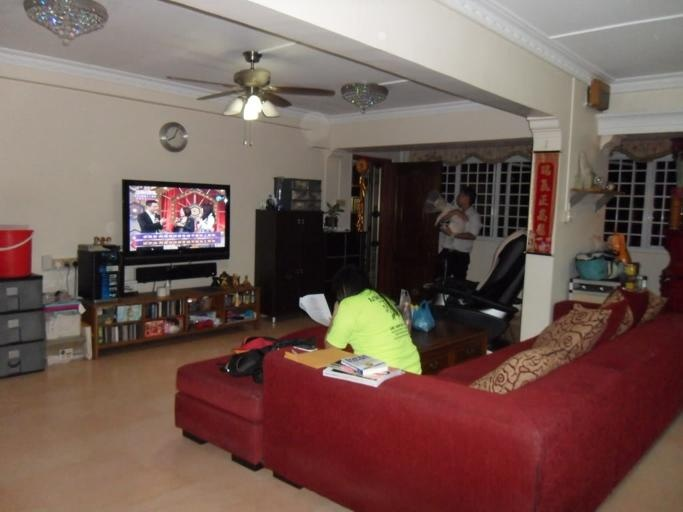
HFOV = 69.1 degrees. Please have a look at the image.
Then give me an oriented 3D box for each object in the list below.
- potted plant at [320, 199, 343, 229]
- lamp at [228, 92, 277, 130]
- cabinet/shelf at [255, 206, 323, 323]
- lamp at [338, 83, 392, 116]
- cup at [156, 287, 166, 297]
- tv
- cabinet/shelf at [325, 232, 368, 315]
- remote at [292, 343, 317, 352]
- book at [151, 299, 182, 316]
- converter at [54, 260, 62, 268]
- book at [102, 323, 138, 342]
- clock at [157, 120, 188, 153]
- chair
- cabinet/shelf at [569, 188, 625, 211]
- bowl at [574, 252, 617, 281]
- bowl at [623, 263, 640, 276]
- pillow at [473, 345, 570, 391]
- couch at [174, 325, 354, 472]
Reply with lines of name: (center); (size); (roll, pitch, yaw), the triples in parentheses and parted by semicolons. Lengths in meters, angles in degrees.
potted plant: (-0.064, -0.613, 7.657); (0.343, 0.475, 0.366); (-5, 10, -43)
lamp: (-0.821, -1.352, 4.553); (0.434, 0.226, 0.580); (4, 9, 13)
cabinet/shelf: (-0.524, 0.081, 6.938); (0.703, 1.229, 0.409); (7, 23, 5)
lamp: (0.242, -1.714, 5.281); (0.462, 0.313, 0.358); (2, 9, 0)
cup: (-2.038, 0.407, 5.583); (0.096, 0.098, 0.096); (2, 2, 0)
tv: (-1.983, -0.398, 5.781); (1.006, 0.733, 0.044); (-6, 12, -42)
cabinet/shelf: (0.072, 0.092, 7.621); (0.622, 0.366, 1.182); (-5, 28, 5)
remote: (-0.233, 0.593, 3.184); (0.096, 0.025, 0.106); (-1, 3, -15)
book: (-1.951, 0.576, 5.541); (0.328, 0.182, 0.311); (2, -4, -36)
converter: (-2.956, 0.085, 5.157); (0.038, 0.069, 0.075); (-1, 0, 35)
book: (-2.349, 0.801, 5.207); (0.207, 0.197, 0.087); (-4, 23, -38)
clock: (-1.989, -1.412, 5.895); (0.059, 0.357, 0.353); (8, 11, 38)
chair: (1.503, 0.225, 5.616); (1.066, 1.048, 0.798); (3, 6, 21)
cabinet/shelf: (2.847, -0.617, 5.519); (0.353, 0.254, 1.269); (7, 11, 33)
bowl: (2.783, 0.110, 5.339); (0.396, 0.173, 0.293); (-5, 6, -44)
bowl: (3.019, 0.143, 5.157); (0.125, 0.130, 0.189); (5, 9, 24)
pillow: (1.025, 0.642, 2.805); (0.464, 0.113, 0.141); (-21, -10, -3)
couch: (-0.699, 0.954, 3.429); (0.715, 0.507, 1.028); (14, 19, 40)
